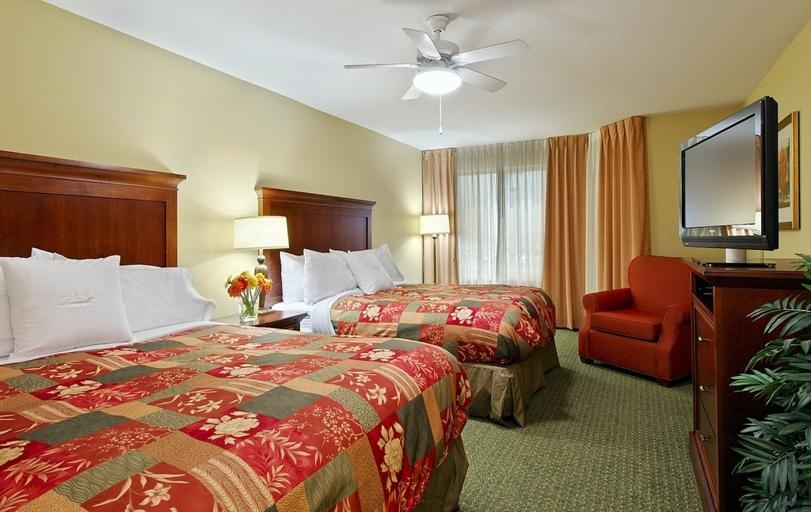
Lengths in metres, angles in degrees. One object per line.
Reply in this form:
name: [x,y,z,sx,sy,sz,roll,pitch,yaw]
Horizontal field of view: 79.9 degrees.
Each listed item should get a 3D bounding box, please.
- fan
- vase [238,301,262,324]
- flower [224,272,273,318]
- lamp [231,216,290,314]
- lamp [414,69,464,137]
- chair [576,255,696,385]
fan: [0.298,-1.681,4.109,1.074,0.535,1.309,-4,13,-8]
vase: [-1.331,0.492,4.102,0.187,0.190,0.180,0,-7,-8]
flower: [-1.347,0.359,4.139,0.324,0.360,0.380,-19,-16,39]
lamp: [-1.427,0.103,4.709,0.593,0.866,0.590,-4,-2,32]
lamp: [0.277,-1.379,4.176,0.363,0.386,0.362,-3,-4,21]
chair: [2.562,0.640,5.164,1.200,1.387,1.226,3,-4,-36]
